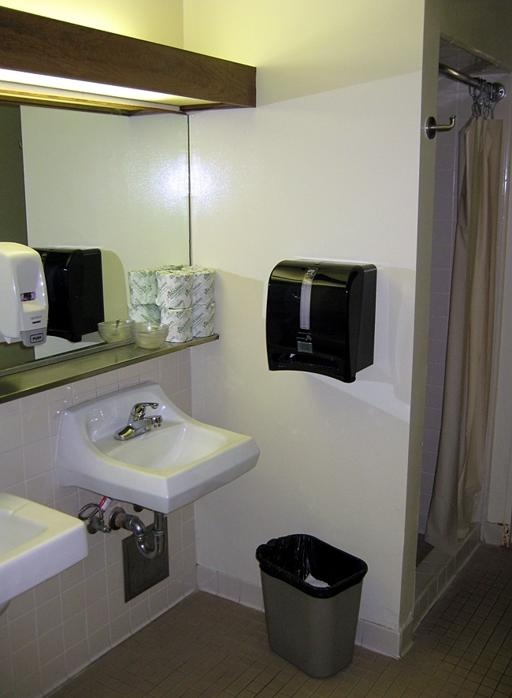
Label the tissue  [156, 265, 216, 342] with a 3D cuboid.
[{"bbox_3d":[-0.245,-0.192,1.933,0.218,0.254,0.228,-10,22,-29],"label":"tissue "}]

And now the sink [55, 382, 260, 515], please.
[{"bbox_3d":[-0.279,0.263,1.547,0.420,0.226,0.429,5,10,35],"label":"sink"}]

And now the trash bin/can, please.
[{"bbox_3d":[0.172,0.831,1.727,0.255,0.365,0.344,-8,10,-42],"label":"trash bin/can"}]
